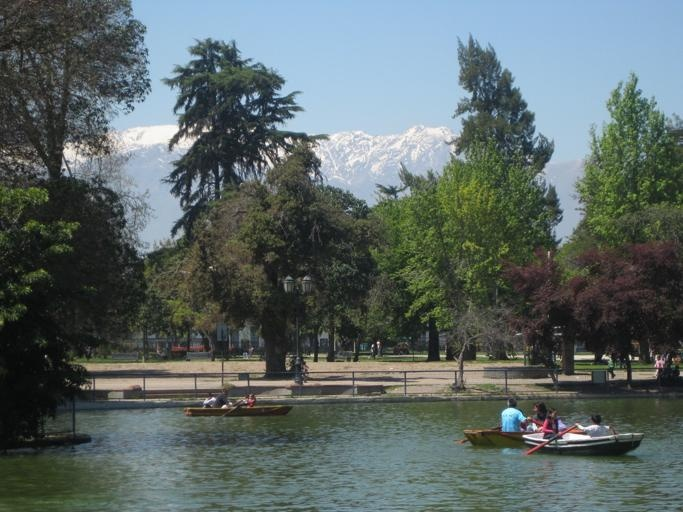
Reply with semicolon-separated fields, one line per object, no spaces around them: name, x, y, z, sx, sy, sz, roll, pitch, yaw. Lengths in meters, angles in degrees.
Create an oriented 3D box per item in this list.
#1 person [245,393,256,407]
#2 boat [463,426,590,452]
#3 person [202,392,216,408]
person;-5.546;8.725;86.659;0.544;0.791;1.441;-2;-8;-7
boat;9.207;9.808;77.362;6.052;0.996;2.138;1;-4;-10
person;-8.130;8.996;87.081;0.626;0.963;0.892;1;9;21
